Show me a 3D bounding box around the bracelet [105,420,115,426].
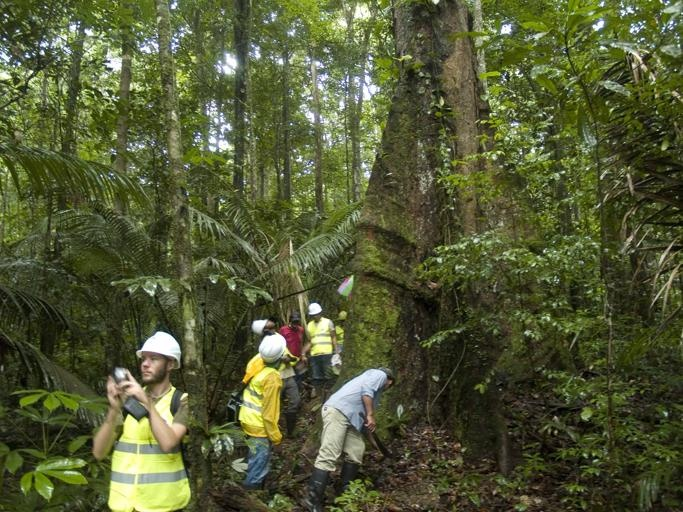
[{"bbox_3d":[-1.834,1.333,4.657,0.030,0.030,0.046,-42,10,14],"label":"bracelet"}]

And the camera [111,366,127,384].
[{"bbox_3d":[-1.779,0.954,4.688,0.120,0.109,0.127,-1,7,2],"label":"camera"}]

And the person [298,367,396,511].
[{"bbox_3d":[0.083,2.018,6.502,0.985,1.444,0.376,-1,-8,-4],"label":"person"}]

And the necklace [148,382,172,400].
[{"bbox_3d":[-1.516,1.155,4.950,0.127,0.057,0.158,1,-1,11],"label":"necklace"}]

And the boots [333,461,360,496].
[{"bbox_3d":[0.064,2.465,6.481,0.268,0.349,0.523,-2,-7,-1],"label":"boots"}]

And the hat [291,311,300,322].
[{"bbox_3d":[-0.716,0.999,9.447,0.168,0.129,0.122,5,6,-27],"label":"hat"}]

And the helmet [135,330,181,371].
[{"bbox_3d":[-1.497,0.820,4.981,0.305,0.209,0.378,-10,-34,23],"label":"helmet"}]

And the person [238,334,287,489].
[{"bbox_3d":[-0.913,1.796,6.771,0.535,1.722,0.366,-1,-8,-7],"label":"person"}]
